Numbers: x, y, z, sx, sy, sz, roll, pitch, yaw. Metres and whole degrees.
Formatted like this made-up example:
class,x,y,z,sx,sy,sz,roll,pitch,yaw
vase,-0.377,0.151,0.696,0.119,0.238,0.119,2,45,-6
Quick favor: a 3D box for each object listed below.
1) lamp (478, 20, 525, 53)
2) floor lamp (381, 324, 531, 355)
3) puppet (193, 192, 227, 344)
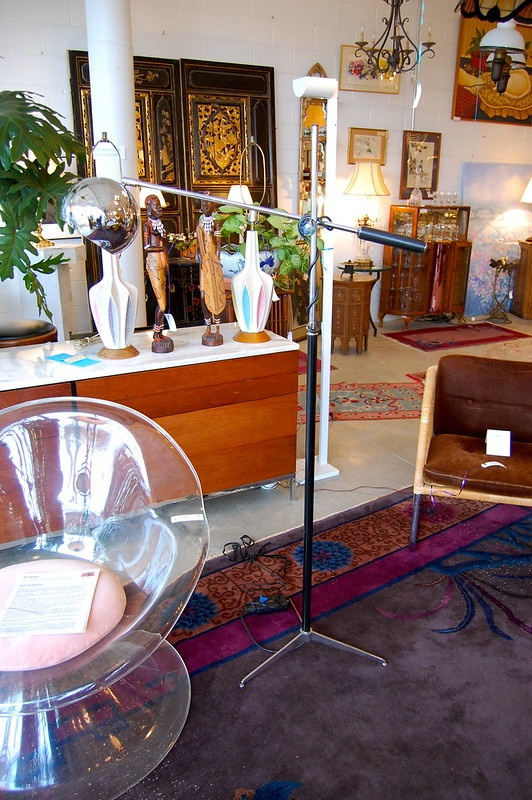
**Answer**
class,x,y,z,sx,sy,sz,roll,pitch,yaw
lamp,1.175,-1.752,2.750,0.171,0.200,0.184,22,38,33
floor lamp,2.073,-0.685,6.005,1.547,0.197,0.982,-4,13,-21
puppet,-0.221,-0.499,2.250,0.106,0.569,0.346,-1,12,-6
